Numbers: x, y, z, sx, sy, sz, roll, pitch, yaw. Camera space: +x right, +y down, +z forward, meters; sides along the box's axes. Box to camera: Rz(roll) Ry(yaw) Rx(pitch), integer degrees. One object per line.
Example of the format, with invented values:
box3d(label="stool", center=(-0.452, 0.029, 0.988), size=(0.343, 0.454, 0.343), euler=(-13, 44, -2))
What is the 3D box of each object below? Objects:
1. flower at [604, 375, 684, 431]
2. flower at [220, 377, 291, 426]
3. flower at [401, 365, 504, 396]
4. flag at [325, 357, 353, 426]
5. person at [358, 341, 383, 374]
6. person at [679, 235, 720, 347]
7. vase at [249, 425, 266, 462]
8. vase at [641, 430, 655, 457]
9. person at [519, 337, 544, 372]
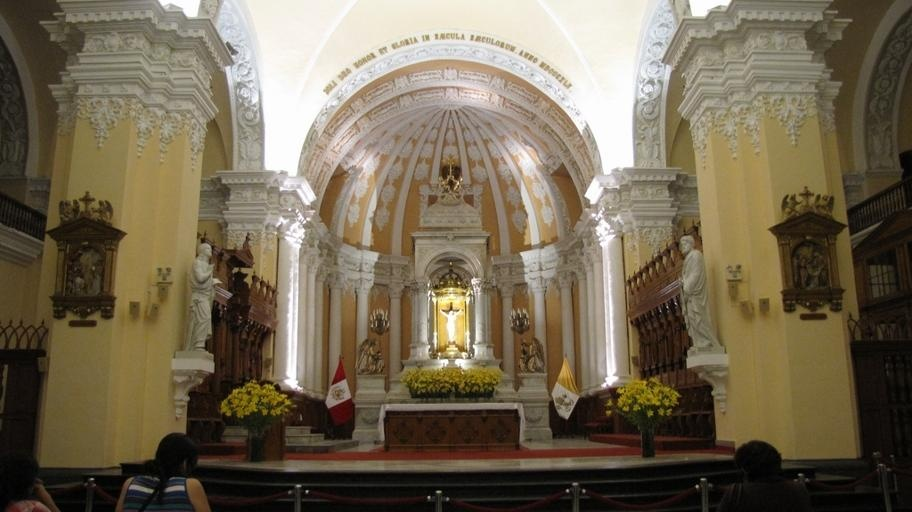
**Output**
box3d(label="flower", center=(4.050, 3.267, 15.485), size=(1.261, 1.232, 1.224), euler=(-9, -10, 14))
box3d(label="flower", center=(-4.147, 3.060, 15.158), size=(1.224, 0.809, 1.138), euler=(2, -5, -26))
box3d(label="flower", center=(-0.083, 3.393, 19.322), size=(1.810, 0.474, 1.277), euler=(-2, -14, 7))
box3d(label="flag", center=(-3.625, 4.222, 22.886), size=(0.834, 2.123, 2.416), euler=(2, -19, -8))
box3d(label="person", center=(-2.859, 3.332, 24.126), size=(0.776, 1.287, 0.835), euler=(2, -20, -8))
box3d(label="person", center=(5.083, 0.720, 15.282), size=(0.645, 2.536, 0.794), euler=(-8, -21, 18))
box3d(label="vase", center=(-4.111, 3.878, 14.980), size=(0.357, 0.673, 0.282), euler=(6, -21, -18))
box3d(label="vase", center=(3.950, 3.840, 14.914), size=(0.221, 0.500, 0.144), euler=(-3, -20, 5))
box3d(label="person", center=(2.598, 3.392, 24.591), size=(0.704, 1.329, 1.694), euler=(-4, -19, 9))
